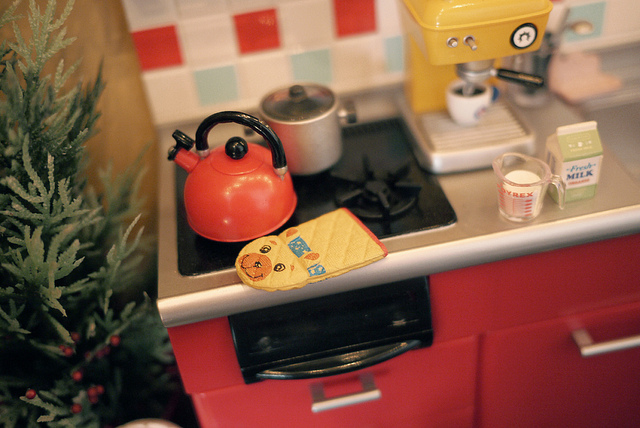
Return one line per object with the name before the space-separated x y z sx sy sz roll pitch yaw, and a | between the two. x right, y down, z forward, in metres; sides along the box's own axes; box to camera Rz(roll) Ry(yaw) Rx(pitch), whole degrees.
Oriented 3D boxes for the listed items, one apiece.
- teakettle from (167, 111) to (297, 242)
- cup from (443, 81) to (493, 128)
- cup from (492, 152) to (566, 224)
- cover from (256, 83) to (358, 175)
teakettle | -0.226 -0.124 1.438 0.299 0.286 0.285 5 37 -2
cup | 0.401 -0.296 1.581 0.119 0.093 0.123 -1 29 0
cup | 0.530 -0.080 1.431 0.172 0.121 0.196 -3 34 14
cover | -0.028 -0.247 1.598 0.273 0.213 0.215 -13 41 -5
